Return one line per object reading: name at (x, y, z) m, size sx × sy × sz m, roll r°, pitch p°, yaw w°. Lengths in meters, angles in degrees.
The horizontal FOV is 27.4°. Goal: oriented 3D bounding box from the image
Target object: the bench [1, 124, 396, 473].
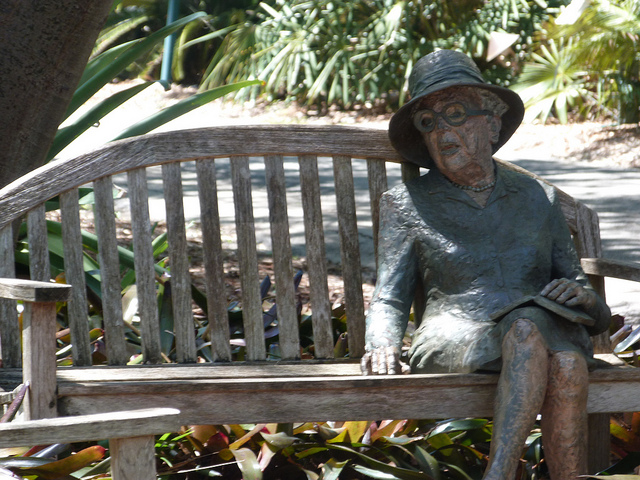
bench at (-0.582, 0.299, 6.043) m, size 2.257 × 1.264 × 0.704 m, roll -2°, pitch 4°, yaw -19°
